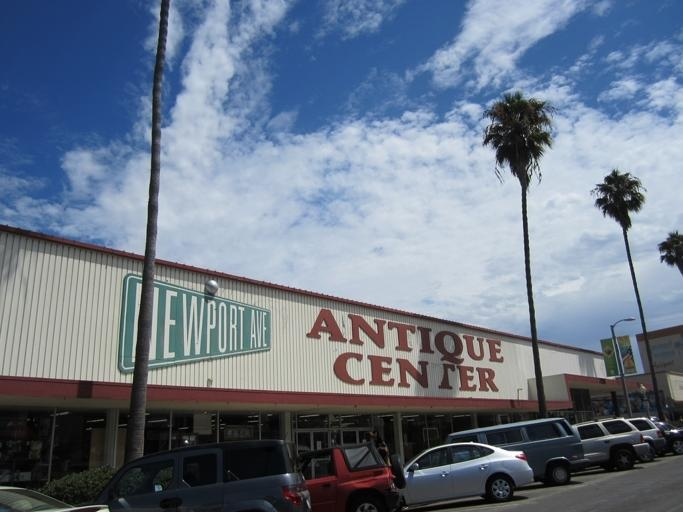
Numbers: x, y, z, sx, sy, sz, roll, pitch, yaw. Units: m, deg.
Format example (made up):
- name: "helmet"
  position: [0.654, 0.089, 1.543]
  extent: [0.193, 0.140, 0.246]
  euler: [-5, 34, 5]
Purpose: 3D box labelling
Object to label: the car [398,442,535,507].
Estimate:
- name: "car"
  position: [3.575, 6.419, 13.888]
  extent: [3.884, 1.390, 1.803]
  euler: [-1, -18, 3]
